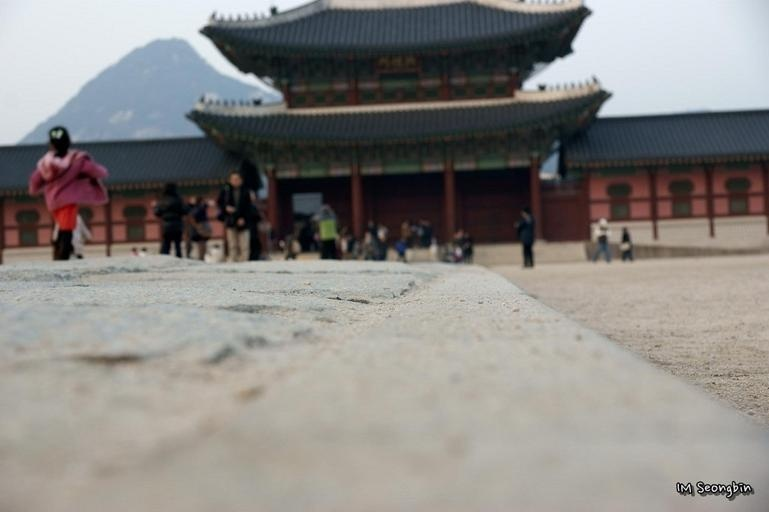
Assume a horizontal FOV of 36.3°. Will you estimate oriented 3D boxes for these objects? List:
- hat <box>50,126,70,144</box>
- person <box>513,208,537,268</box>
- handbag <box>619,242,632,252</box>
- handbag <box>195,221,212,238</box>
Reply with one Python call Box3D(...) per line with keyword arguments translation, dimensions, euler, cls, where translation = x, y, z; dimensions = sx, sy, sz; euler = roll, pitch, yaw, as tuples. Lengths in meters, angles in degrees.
Box3D(translation=(-6.630, -2.496, 23.928), dimensions=(0.390, 0.312, 0.263), euler=(-2, 1, -14), cls="hat")
Box3D(translation=(3.519, -0.480, 29.663), dimensions=(0.400, 1.051, 0.872), euler=(-1, 1, 5), cls="person")
Box3D(translation=(6.492, -0.291, 31.786), dimensions=(0.229, 0.233, 0.557), euler=(-1, 2, 6), cls="handbag")
Box3D(translation=(-4.095, -0.598, 26.435), dimensions=(0.334, 0.305, 0.241), euler=(-2, 1, -11), cls="handbag")
